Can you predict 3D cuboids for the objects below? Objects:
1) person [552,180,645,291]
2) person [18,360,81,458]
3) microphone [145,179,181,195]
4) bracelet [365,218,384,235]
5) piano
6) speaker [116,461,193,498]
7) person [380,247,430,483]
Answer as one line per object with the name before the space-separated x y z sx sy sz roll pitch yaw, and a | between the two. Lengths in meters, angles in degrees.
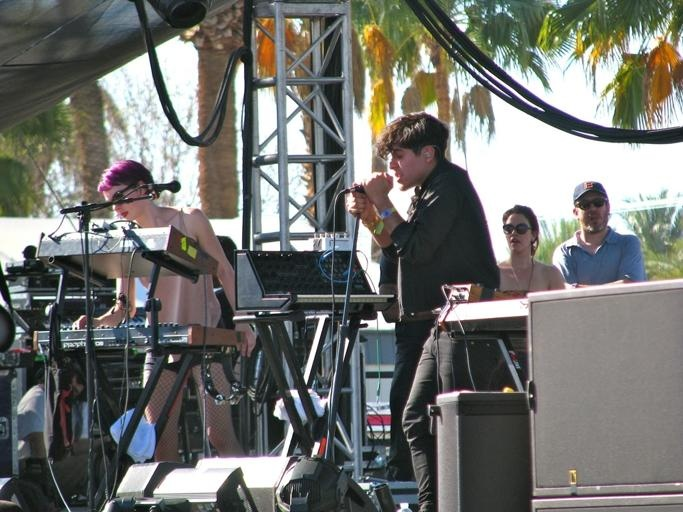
person | 3.665 -0.320 29.725 1.283 1.497 0.466 -1 -3 8
person | -4.062 2.231 29.287 0.861 1.602 0.927 1 -14 16
microphone | -2.376 -0.900 28.220 0.378 0.210 0.188 -8 -11 15
bracelet | 0.474 -0.380 27.912 0.175 0.177 0.208 4 -14 -8
piano | -0.645 0.332 27.754 1.504 0.822 0.242 -1 -3 -2
speaker | -2.626 3.012 27.803 0.426 0.345 0.623 -1 -3 32
person | 0.872 1.605 28.407 0.702 3.148 0.635 -2 3 -30
